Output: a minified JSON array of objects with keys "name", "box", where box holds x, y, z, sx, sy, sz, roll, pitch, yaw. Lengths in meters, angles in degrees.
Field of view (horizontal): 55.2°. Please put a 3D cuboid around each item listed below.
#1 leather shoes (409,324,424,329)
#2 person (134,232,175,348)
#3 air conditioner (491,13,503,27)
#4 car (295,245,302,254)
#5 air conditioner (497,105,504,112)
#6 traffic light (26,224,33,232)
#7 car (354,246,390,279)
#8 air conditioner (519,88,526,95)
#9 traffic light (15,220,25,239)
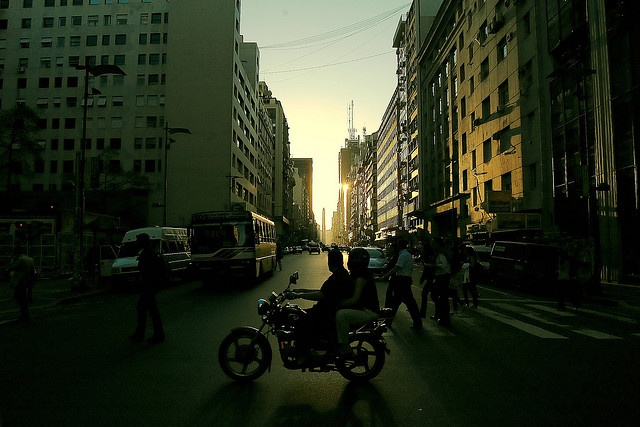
[{"name":"leather shoes","box":[3.716,4.371,23.512,0.480,0.126,0.287,1,11,7]},{"name":"person","box":[-6.348,2.699,22.400,1.134,3.789,1.501,-5,11,-24]},{"name":"air conditioner","box":[13.780,-14.937,47.405,0.558,1.083,1.238,0,11,4]},{"name":"car","box":[-4.034,6.811,113.915,1.128,1.012,2.743,-1,-7,-1]},{"name":"air conditioner","box":[13.820,-7.999,46.758,0.335,0.538,0.515,-1,1,16]},{"name":"traffic light","box":[-16.556,0.851,34.708,0.237,0.321,0.271,-7,12,-29]},{"name":"car","box":[3.269,2.791,36.191,1.525,1.538,3.040,-1,-12,7]},{"name":"air conditioner","box":[14.458,-8.586,43.500,0.196,0.395,0.581,-1,11,-4]},{"name":"traffic light","box":[-16.807,1.078,34.256,0.520,1.038,1.683,-6,12,-26]}]
